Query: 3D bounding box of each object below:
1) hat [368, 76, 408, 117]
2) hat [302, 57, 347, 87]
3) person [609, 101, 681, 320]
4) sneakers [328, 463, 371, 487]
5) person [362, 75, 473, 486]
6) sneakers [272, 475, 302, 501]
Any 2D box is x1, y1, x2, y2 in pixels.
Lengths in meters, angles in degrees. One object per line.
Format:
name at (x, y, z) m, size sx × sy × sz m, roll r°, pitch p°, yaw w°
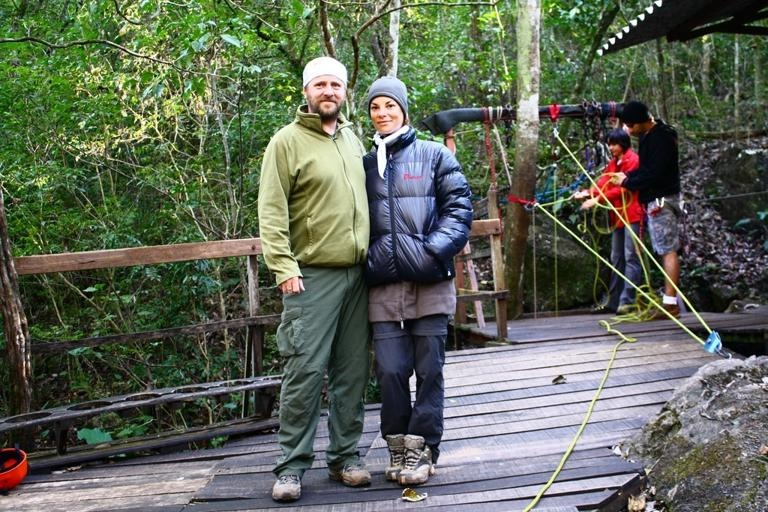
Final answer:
hat at (0.029, -1.286, 5.122) m, size 0.249 × 0.282 × 0.328 m, roll -1°, pitch -9°, yaw 8°
hat at (-0.463, -1.429, 5.024) m, size 0.260 × 0.164 × 0.261 m, roll 1°, pitch 10°, yaw -3°
person at (3.098, -0.533, 7.468) m, size 0.711 × 2.525 × 0.921 m, roll -1°, pitch 12°, yaw 22°
sneakers at (-0.268, 1.673, 4.963) m, size 0.297 × 0.150 × 0.154 m, roll -2°, pitch -5°, yaw 36°
person at (0.180, 0.155, 5.012) m, size 0.645 × 3.039 × 0.960 m, roll 6°, pitch 16°, yaw 44°
sneakers at (-0.732, 1.726, 4.750) m, size 0.116 × 0.126 × 0.273 m, roll 1°, pitch -10°, yaw -3°
